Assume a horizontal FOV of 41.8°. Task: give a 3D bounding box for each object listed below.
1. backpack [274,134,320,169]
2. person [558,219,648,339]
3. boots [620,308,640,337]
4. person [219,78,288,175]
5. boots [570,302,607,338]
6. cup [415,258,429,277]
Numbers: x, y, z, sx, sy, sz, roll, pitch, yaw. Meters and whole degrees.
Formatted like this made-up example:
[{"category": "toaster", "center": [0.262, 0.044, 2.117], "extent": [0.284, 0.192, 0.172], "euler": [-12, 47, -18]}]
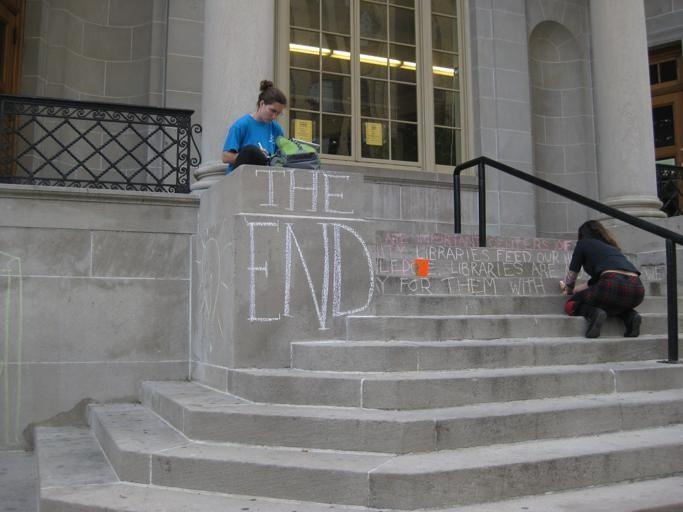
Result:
[{"category": "backpack", "center": [-0.483, -1.129, 9.884], "extent": [0.453, 0.268, 0.299], "euler": [1, 10, 13]}, {"category": "person", "center": [3.124, 0.265, 10.750], "extent": [0.797, 1.749, 0.904], "euler": [4, -26, 2]}, {"category": "boots", "center": [3.351, 0.773, 10.256], "extent": [0.205, 0.328, 0.318], "euler": [-1, 0, 15]}, {"category": "person", "center": [-0.973, -1.486, 10.056], "extent": [0.718, 0.924, 0.895], "euler": [-1, 0, -12]}, {"category": "boots", "center": [2.855, 0.731, 10.227], "extent": [0.220, 0.400, 0.379], "euler": [-1, 0, -16]}, {"category": "cup", "center": [0.995, 0.133, 10.879], "extent": [0.175, 0.217, 0.459], "euler": [-1, 0, 5]}]
